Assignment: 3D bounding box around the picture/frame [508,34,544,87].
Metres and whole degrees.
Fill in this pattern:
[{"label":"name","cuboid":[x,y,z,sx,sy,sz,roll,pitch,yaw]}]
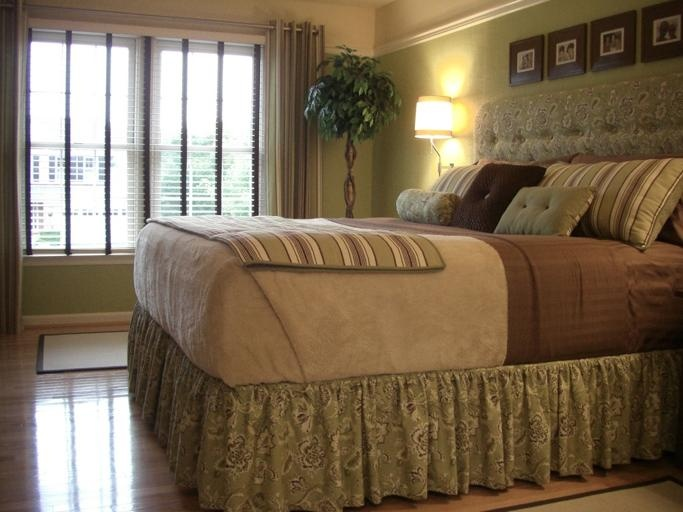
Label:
[{"label":"picture/frame","cuboid":[1.382,-1.454,4.591,0.032,0.434,0.421,-4,7,-26]}]
